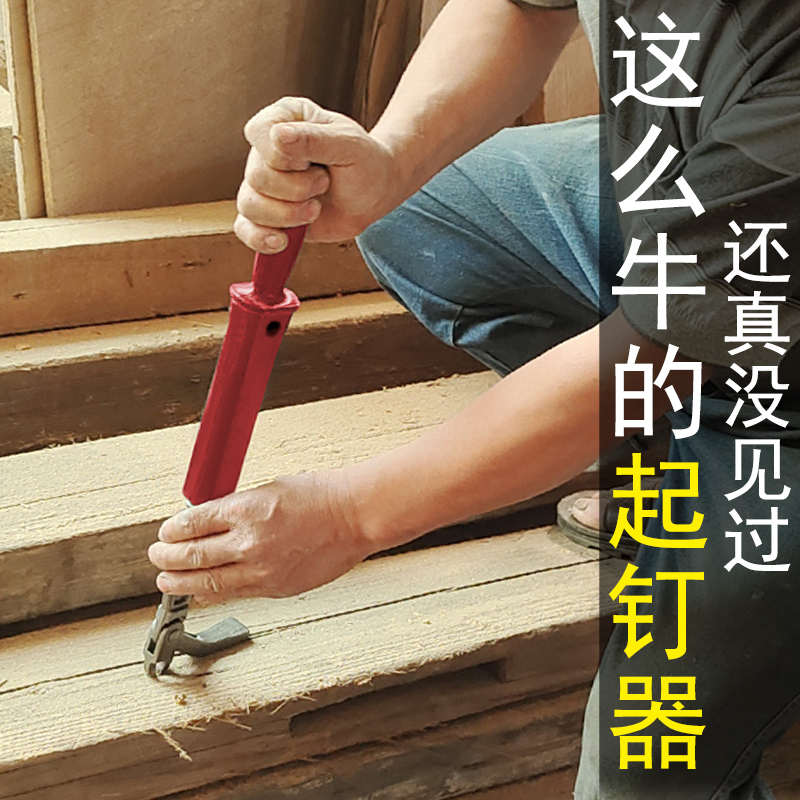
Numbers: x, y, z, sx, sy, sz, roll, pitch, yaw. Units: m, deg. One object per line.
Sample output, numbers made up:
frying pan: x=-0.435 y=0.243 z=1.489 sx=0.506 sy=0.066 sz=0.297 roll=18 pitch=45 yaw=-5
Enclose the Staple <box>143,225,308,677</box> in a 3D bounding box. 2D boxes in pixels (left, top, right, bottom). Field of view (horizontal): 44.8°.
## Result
Staple: x=-0.230 y=0.092 z=1.234 sx=0.160 sy=0.647 sz=0.185 roll=-6 pitch=26 yaw=-27
